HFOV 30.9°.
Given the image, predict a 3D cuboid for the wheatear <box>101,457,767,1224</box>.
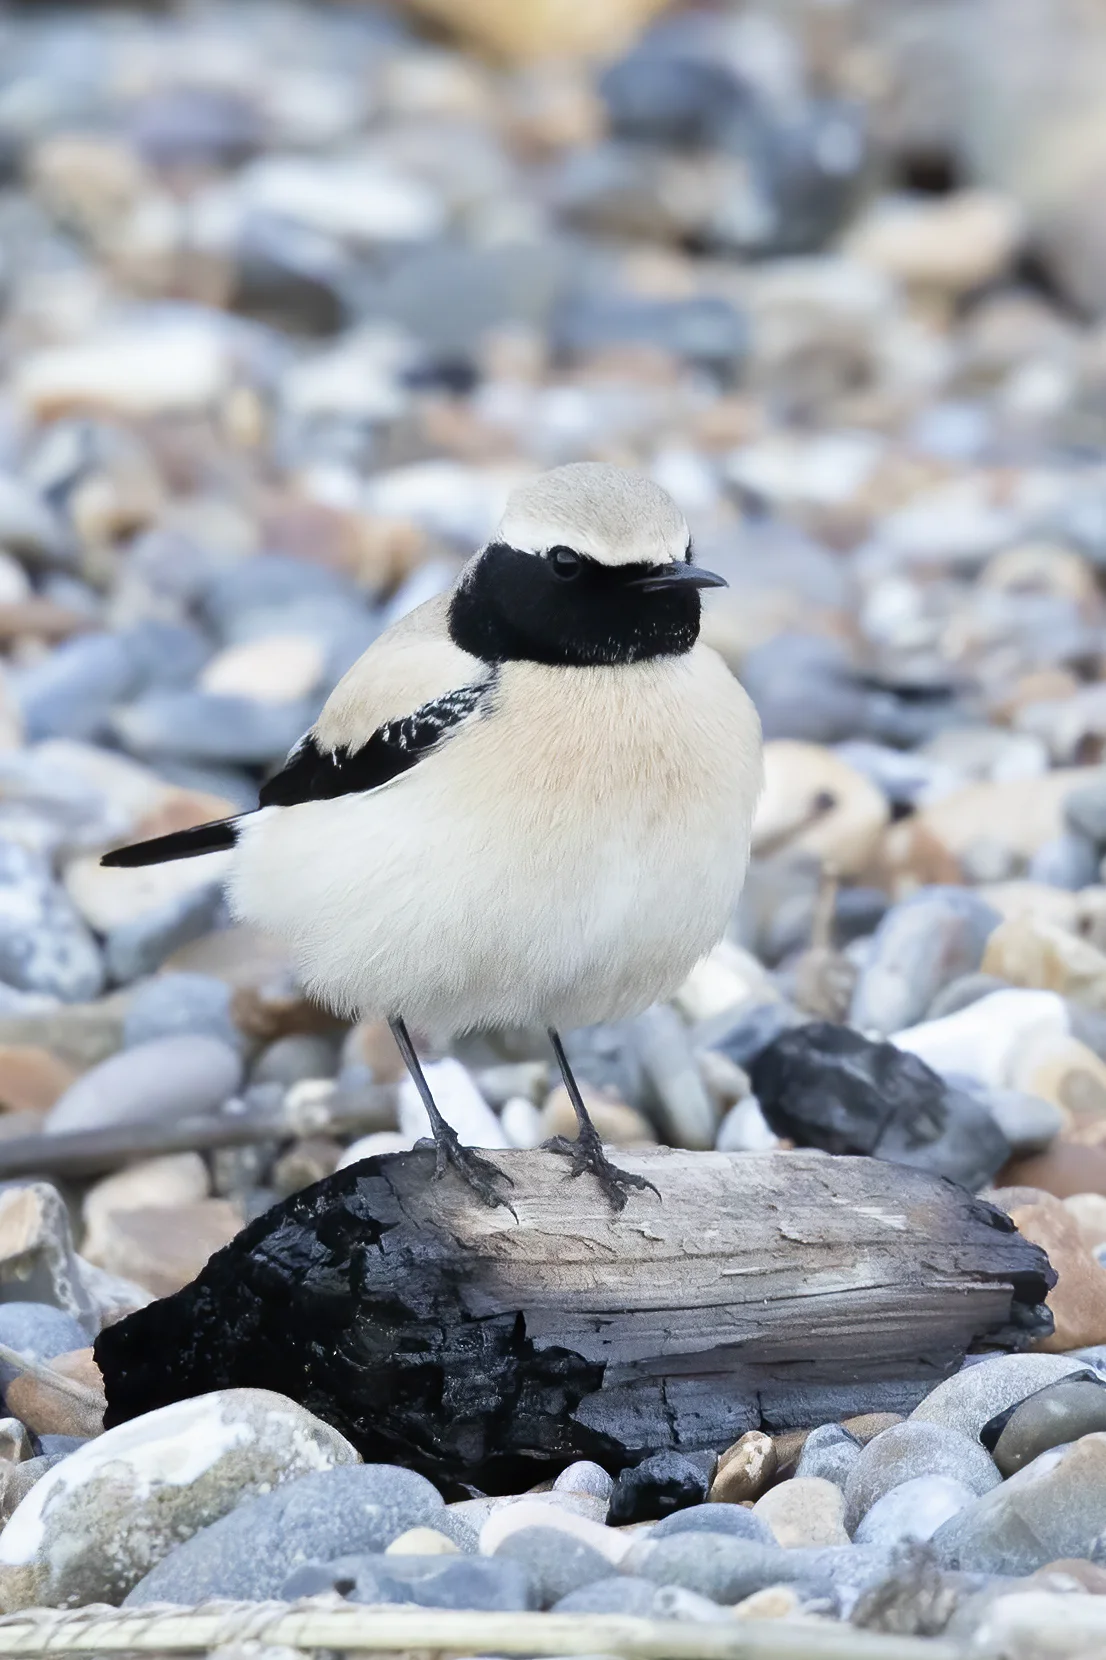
[{"bbox_3d":[-0.139,-0.030,2.782,0.716,0.944,0.544,6,12,37],"label":"wheatear"}]
